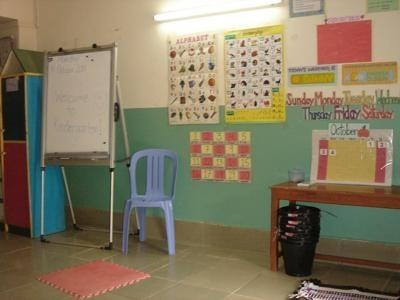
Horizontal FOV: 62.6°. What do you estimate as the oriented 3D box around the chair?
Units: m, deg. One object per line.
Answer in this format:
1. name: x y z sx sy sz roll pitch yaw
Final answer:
1. chair: -0.604 0.588 4.084 0.645 1.178 0.873 -1 4 -4
